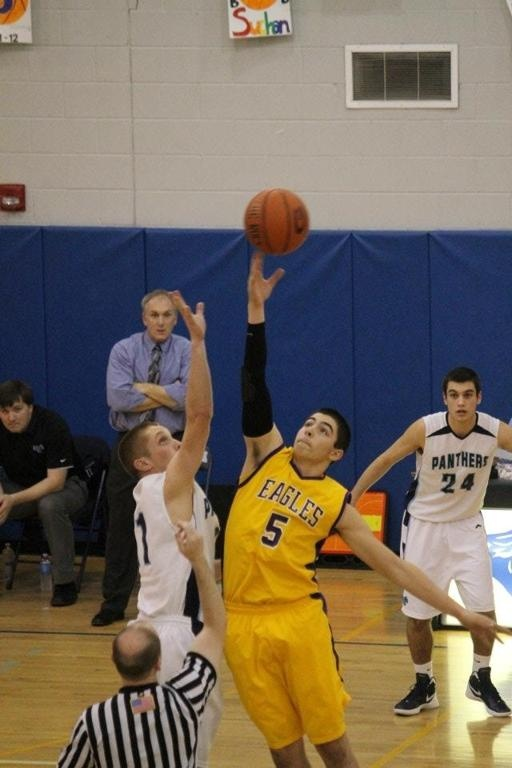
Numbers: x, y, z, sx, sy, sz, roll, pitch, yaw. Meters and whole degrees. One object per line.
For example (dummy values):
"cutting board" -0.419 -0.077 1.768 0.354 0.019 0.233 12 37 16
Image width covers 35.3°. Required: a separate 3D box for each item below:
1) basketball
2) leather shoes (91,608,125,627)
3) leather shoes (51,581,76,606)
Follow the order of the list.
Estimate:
"basketball" 0.068 -0.531 2.797 0.242 0.283 0.234 -2 -1 -1
"leather shoes" -0.845 1.319 4.604 0.074 0.088 0.206 -1 -9 37
"leather shoes" -1.195 1.296 4.982 0.075 0.090 0.223 -2 -6 3
